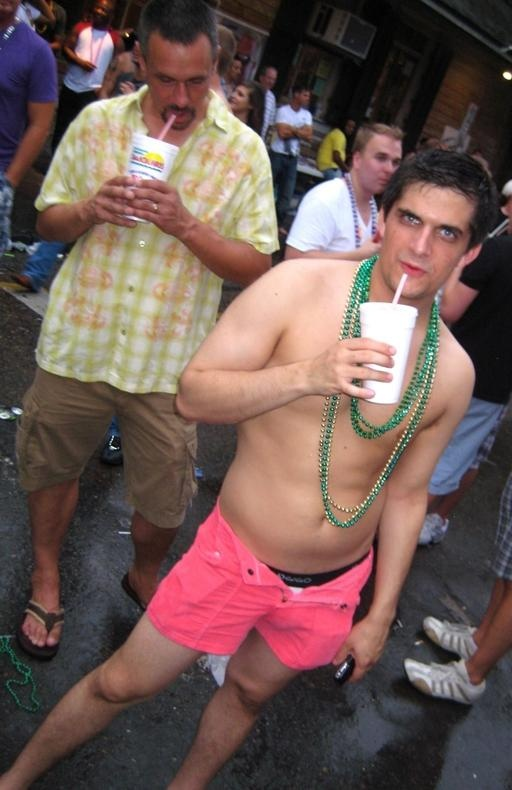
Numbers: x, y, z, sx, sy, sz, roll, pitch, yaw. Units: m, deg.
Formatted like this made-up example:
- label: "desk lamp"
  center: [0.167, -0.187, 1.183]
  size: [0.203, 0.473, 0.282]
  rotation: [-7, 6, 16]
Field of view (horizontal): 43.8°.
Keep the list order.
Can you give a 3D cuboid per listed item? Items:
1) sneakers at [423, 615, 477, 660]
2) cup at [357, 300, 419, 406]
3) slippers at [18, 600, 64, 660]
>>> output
- label: "sneakers"
  center: [0.944, 1.161, 3.106]
  size: [0.306, 0.126, 0.117]
  rotation: [24, 23, -5]
- label: "cup"
  center: [0.279, -0.091, 1.406]
  size: [0.142, 0.204, 0.145]
  rotation: [5, 25, -2]
- label: "slippers"
  center: [-0.764, 0.836, 2.259]
  size: [0.153, 0.117, 0.172]
  rotation: [16, 32, -12]
